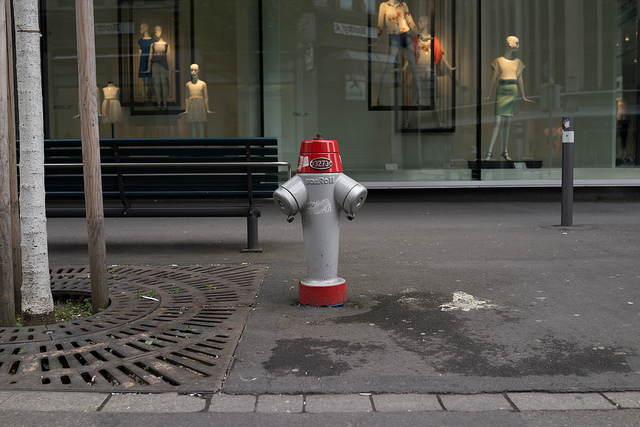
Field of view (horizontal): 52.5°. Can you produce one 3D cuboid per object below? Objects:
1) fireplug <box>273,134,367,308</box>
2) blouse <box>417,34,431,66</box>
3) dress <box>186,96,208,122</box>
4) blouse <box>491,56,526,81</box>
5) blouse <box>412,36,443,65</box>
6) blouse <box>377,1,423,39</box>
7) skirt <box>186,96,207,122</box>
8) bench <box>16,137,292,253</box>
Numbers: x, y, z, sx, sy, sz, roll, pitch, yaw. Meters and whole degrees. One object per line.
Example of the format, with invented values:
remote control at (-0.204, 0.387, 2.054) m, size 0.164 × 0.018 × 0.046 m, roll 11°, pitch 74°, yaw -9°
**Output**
fireplug at (0.000, 0.091, 6.290) m, size 0.712 × 1.587 × 0.496 m, roll 6°, pitch 13°, yaw 27°
blouse at (2.511, -3.900, 15.651) m, size 0.335 × 0.584 × 0.158 m, roll 0°, pitch 12°, yaw -4°
dress at (-2.936, -2.496, 15.532) m, size 0.708 × 0.694 × 0.431 m, roll 0°, pitch -3°, yaw -10°
blouse at (4.564, -3.497, 15.593) m, size 0.675 × 0.428 × 0.239 m, roll 1°, pitch 8°, yaw 7°
blouse at (2.571, -3.910, 15.641) m, size 0.842 × 0.693 × 0.275 m, roll 0°, pitch -1°, yaw -4°
blouse at (1.860, -4.632, 15.495) m, size 0.982 × 0.792 × 0.212 m, roll -7°, pitch 8°, yaw -6°
skirt at (-2.942, -2.497, 15.532) m, size 0.722 × 0.714 × 0.442 m, roll 0°, pitch -1°, yaw -9°
bench at (-2.628, -0.333, 8.850) m, size 4.020 × 1.212 × 1.156 m, roll 0°, pitch -1°, yaw -2°
